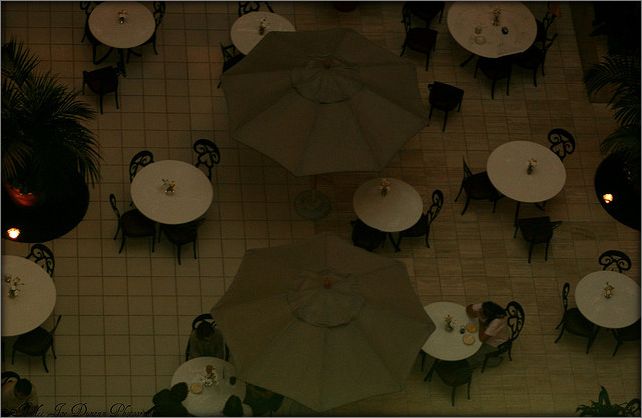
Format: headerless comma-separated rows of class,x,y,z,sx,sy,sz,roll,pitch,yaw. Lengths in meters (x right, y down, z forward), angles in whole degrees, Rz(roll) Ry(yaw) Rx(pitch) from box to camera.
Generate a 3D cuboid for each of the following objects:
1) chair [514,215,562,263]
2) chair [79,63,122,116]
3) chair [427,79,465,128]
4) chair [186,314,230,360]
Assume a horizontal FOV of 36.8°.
chair,6.362,0.711,28.626,1.158,1.441,1.989,-2,-27,3
chair,-6.739,-3.843,29.286,1.268,1.409,0.928,6,-37,-1
chair,3.896,-3.276,29.835,1.103,1.291,1.139,0,-38,6
chair,-3.195,3.407,26.550,1.427,1.217,1.622,2,-31,-3
